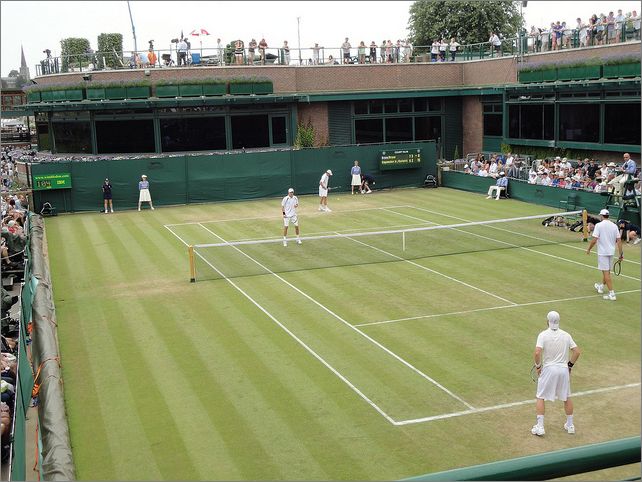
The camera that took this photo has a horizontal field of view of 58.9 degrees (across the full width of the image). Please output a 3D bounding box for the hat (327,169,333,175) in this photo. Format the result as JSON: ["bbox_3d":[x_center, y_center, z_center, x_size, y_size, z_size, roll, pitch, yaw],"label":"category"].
[{"bbox_3d":[0.438,-4.232,35.063,0.431,0.204,0.514,2,6,3],"label":"hat"}]

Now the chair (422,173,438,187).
[{"bbox_3d":[8.134,-4.518,42.740,0.869,1.153,0.986,0,10,4],"label":"chair"}]

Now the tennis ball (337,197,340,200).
[{"bbox_3d":[1.135,-2.883,38.902,0.172,0.106,0.173,1,11,0],"label":"tennis ball"}]

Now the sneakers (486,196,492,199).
[{"bbox_3d":[10.916,-2.791,36.743,0.218,0.261,0.651,8,6,37],"label":"sneakers"}]

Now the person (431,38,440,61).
[{"bbox_3d":[10.145,-16.723,50.442,0.662,1.548,0.817,0,14,10],"label":"person"}]

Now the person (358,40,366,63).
[{"bbox_3d":[3.522,-16.292,49.190,0.618,1.798,0.849,-1,13,5],"label":"person"}]

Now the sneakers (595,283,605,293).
[{"bbox_3d":[9.208,1.544,18.685,0.186,0.226,0.520,5,15,17],"label":"sneakers"}]

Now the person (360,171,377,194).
[{"bbox_3d":[3.335,-4.120,40.925,0.783,1.309,1.352,6,16,31],"label":"person"}]

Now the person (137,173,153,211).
[{"bbox_3d":[-11.659,-3.131,37.032,0.902,2.278,1.246,-6,14,-14],"label":"person"}]

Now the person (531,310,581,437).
[{"bbox_3d":[4.558,2.521,10.939,0.812,2.431,1.073,4,15,23],"label":"person"}]

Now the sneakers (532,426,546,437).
[{"bbox_3d":[4.177,3.636,10.876,0.129,0.140,0.300,-1,7,-2],"label":"sneakers"}]

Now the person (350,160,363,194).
[{"bbox_3d":[2.459,-4.458,40.107,0.791,2.381,1.533,-1,13,3],"label":"person"}]

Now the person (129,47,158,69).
[{"bbox_3d":[-14.064,-14.237,44.446,2.000,1.359,0.612,-6,14,-16],"label":"person"}]

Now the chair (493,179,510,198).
[{"bbox_3d":[11.665,-3.348,36.426,0.867,1.253,0.477,-6,14,-15],"label":"chair"}]

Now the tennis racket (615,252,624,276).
[{"bbox_3d":[10.948,0.895,20.756,0.098,0.303,0.888,-17,23,34],"label":"tennis racket"}]

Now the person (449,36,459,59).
[{"bbox_3d":[11.949,-17.126,50.991,0.780,1.779,1.159,1,14,13],"label":"person"}]

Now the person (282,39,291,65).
[{"bbox_3d":[-3.032,-15.684,47.478,0.605,1.836,0.500,4,14,22],"label":"person"}]

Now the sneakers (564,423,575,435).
[{"bbox_3d":[4.844,3.638,10.993,0.109,0.086,0.211,-3,22,-2],"label":"sneakers"}]

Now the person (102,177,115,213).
[{"bbox_3d":[-13.963,-2.923,36.631,0.639,2.164,0.931,-7,14,-21],"label":"person"}]

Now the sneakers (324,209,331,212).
[{"bbox_3d":[0.362,-1.831,34.240,0.147,0.191,0.429,-9,6,-42],"label":"sneakers"}]

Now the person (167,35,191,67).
[{"bbox_3d":[-11.244,-15.110,45.369,1.088,2.097,1.323,-5,14,-12],"label":"person"}]

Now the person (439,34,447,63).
[{"bbox_3d":[10.866,-16.752,50.554,0.516,1.540,0.967,5,15,27],"label":"person"}]
